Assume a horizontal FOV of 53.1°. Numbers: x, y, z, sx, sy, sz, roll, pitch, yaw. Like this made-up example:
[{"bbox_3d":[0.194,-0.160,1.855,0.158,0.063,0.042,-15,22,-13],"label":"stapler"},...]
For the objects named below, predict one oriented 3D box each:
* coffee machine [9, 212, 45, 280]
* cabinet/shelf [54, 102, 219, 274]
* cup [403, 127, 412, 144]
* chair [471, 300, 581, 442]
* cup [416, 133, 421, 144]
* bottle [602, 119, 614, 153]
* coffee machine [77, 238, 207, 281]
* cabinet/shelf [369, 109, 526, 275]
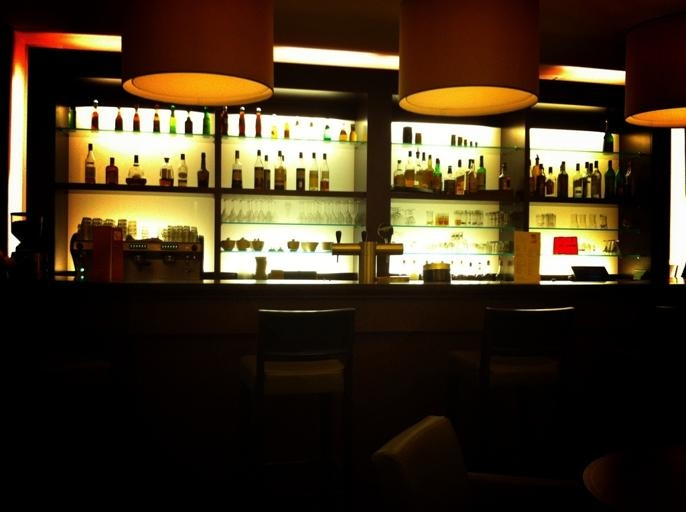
[{"bbox_3d":[-1.960,-0.064,4.241,0.183,0.414,0.167,1,2,-34],"label":"coffee machine"},{"bbox_3d":[-1.721,-0.591,5.572,1.327,1.650,0.450,0,-2,-14],"label":"cabinet/shelf"},{"bbox_3d":[0.579,-1.089,6.167,0.076,0.143,0.087,2,3,4],"label":"cup"},{"bbox_3d":[0.966,0.625,3.955,0.581,1.144,0.705,0,2,3],"label":"chair"},{"bbox_3d":[0.672,-1.053,6.136,0.044,0.097,0.123,2,4,0],"label":"cup"},{"bbox_3d":[2.554,-1.153,6.587,0.096,0.334,0.320,3,4,21],"label":"bottle"},{"bbox_3d":[-1.339,0.043,4.693,0.953,0.301,0.670,-1,5,-29],"label":"coffee machine"},{"bbox_3d":[0.885,-0.550,6.040,1.349,1.520,0.426,0,2,-3],"label":"cabinet/shelf"}]
